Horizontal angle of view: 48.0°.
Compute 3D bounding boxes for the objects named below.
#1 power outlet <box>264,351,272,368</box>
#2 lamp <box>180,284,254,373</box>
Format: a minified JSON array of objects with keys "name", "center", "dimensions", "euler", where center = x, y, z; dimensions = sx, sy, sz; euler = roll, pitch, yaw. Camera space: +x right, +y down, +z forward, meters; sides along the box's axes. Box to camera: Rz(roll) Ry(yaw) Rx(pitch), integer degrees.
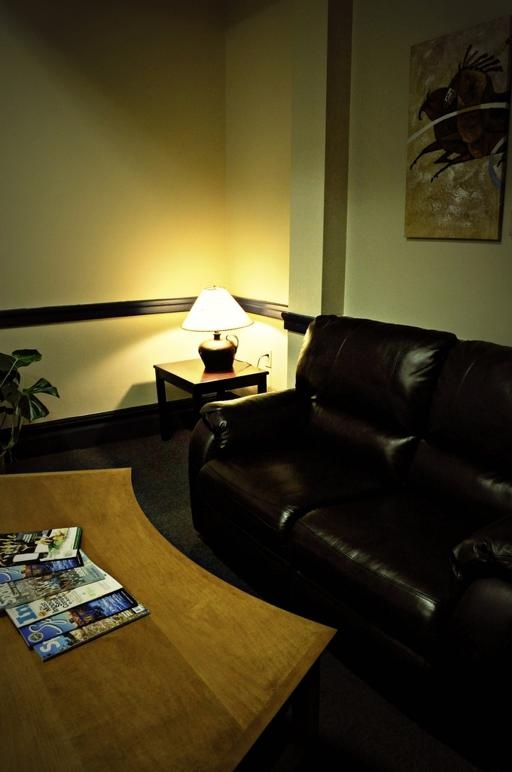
[{"name":"power outlet","center":[0.070,-0.160,3.336],"dimensions":[0.044,0.076,0.077],"euler":[-8,17,-27]},{"name":"lamp","center":[-0.179,-0.318,3.088],"dimensions":[0.418,0.516,0.434],"euler":[-1,7,8]}]
